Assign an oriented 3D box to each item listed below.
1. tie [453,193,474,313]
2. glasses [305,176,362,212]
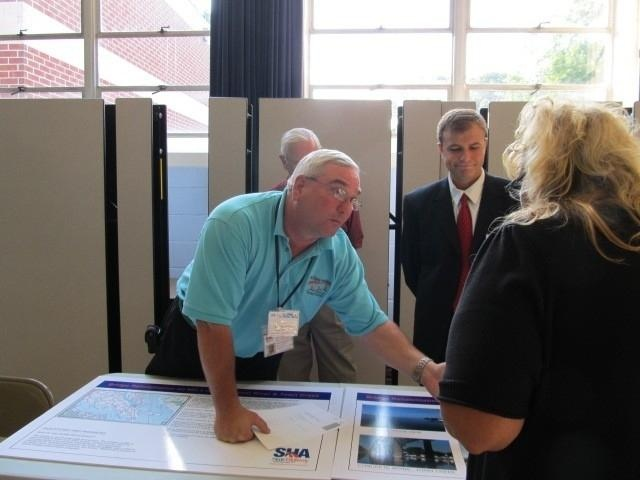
[{"bbox_3d":[0.726,-0.007,2.921,0.099,0.043,0.929,12,37,6],"label":"tie"},{"bbox_3d":[0.070,-0.181,2.220,0.232,0.128,0.101,-3,10,-27],"label":"glasses"}]
